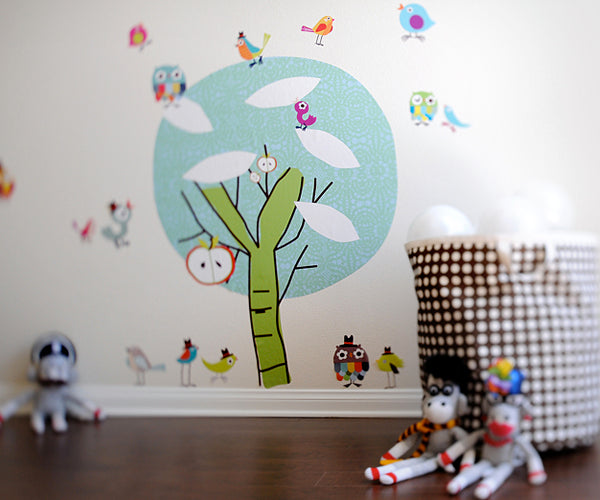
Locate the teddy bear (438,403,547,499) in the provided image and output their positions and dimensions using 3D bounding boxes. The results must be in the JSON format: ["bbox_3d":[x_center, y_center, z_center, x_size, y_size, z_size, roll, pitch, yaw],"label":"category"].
[{"bbox_3d":[0.601,0.608,1.890,0.254,0.236,0.272,-6,16,-41],"label":"teddy bear"}]

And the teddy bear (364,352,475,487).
[{"bbox_3d":[0.418,0.559,2.003,0.350,0.441,0.252,6,1,-27],"label":"teddy bear"}]
